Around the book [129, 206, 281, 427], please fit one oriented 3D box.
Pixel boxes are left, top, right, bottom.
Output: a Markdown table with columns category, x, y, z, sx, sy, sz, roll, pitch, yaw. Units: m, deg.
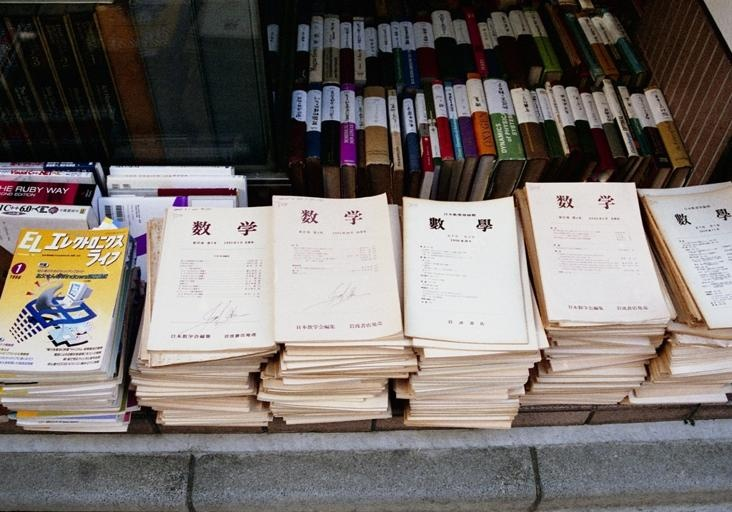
| category | x | y | z | sx | sy | sz | roll | pitch | yaw |
| --- | --- | --- | --- | --- | --- | --- | --- | --- | --- |
| book | -0.545 | 0.198 | 2.026 | 0.651 | 0.264 | 0.727 | -2 | 77 | 2 |
